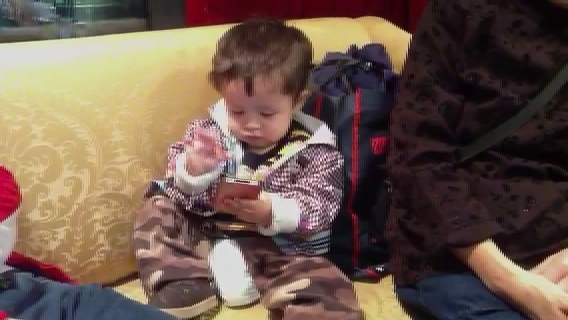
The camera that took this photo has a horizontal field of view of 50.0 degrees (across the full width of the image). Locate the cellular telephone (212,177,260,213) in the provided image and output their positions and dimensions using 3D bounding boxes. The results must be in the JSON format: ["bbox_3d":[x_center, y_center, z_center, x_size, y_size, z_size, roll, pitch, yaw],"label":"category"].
[{"bbox_3d":[-0.103,0.077,1.326,0.097,0.065,0.034,5,30,-3],"label":"cellular telephone"}]
